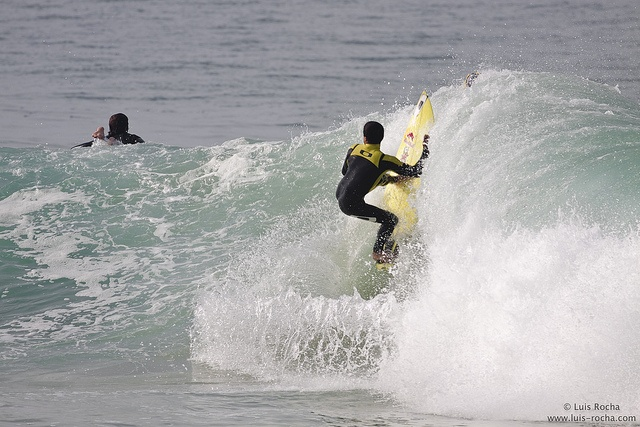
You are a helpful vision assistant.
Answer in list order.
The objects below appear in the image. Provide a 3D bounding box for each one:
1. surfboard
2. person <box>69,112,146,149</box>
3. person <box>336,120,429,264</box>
[{"bbox_3d":[1.519,-0.719,17.273,0.435,3.462,0.802,27,-16,-28],"label":"surfboard"},{"bbox_3d":[-4.241,-1.753,20.800,1.293,0.758,0.788,-1,12,-23],"label":"person"},{"bbox_3d":[0.912,-0.351,16.677,1.234,2.406,0.317,4,13,0],"label":"person"}]
